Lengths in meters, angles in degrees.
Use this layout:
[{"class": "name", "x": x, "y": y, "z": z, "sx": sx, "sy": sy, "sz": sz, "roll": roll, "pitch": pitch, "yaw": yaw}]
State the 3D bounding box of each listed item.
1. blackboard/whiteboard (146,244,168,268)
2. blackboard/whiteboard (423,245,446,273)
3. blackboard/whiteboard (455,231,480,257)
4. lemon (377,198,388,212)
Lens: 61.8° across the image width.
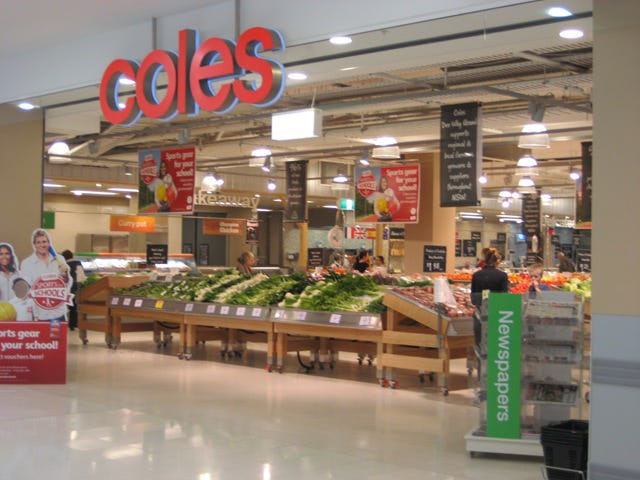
[{"class": "blackboard/whiteboard", "x": -4.578, "y": 0.448, "z": 14.947, "sx": 0.722, "sy": 0.638, "sz": 0.099, "roll": 0, "pitch": -4, "yaw": -30}, {"class": "blackboard/whiteboard", "x": 2.671, "y": 0.430, "z": 12.383, "sx": 0.688, "sy": 0.676, "sz": 0.079, "roll": 1, "pitch": -3, "yaw": 0}, {"class": "blackboard/whiteboard", "x": 9.056, "y": 0.223, "z": 32.849, "sx": 1.745, "sy": 1.369, "sz": 0.174, "roll": 2, "pitch": -6, "yaw": -38}, {"class": "lemon", "x": 1.521, "y": -0.844, "z": 12.940, "sx": 0.318, "sy": 0.341, "sz": 0.304, "roll": 0, "pitch": -3, "yaw": -1}]
